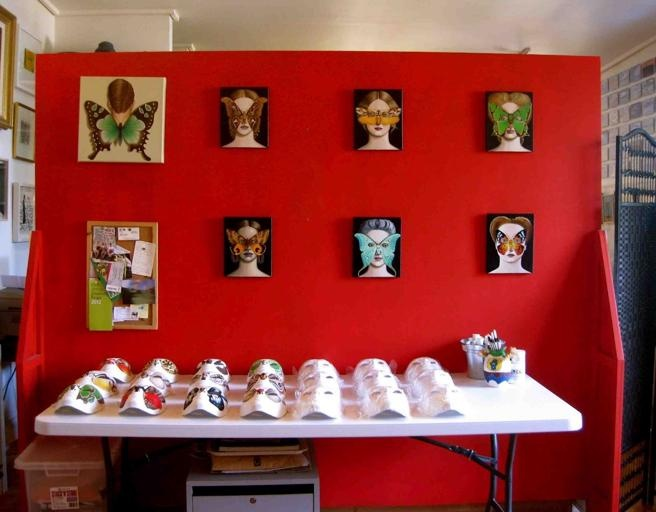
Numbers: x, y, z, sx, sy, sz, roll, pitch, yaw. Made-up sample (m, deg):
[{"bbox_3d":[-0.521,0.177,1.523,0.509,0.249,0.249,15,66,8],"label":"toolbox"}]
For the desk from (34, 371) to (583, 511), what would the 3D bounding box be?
[{"bbox_3d":[-0.047,0.760,3.064,2.586,0.243,0.453,-1,3,-1],"label":"desk"}]

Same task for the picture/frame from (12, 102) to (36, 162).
[{"bbox_3d":[-2.310,-0.929,4.456,0.088,0.413,0.289,-1,2,-8],"label":"picture/frame"}]
